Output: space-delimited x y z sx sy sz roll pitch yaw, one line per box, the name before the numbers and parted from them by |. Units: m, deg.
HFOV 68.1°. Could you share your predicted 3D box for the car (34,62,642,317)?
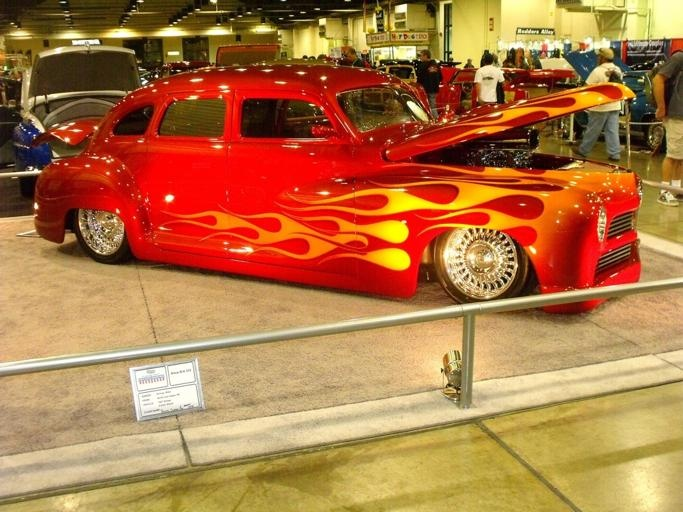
car | -0.123 -0.813 5.111 5.567 2.300 1.293 6 23 24
